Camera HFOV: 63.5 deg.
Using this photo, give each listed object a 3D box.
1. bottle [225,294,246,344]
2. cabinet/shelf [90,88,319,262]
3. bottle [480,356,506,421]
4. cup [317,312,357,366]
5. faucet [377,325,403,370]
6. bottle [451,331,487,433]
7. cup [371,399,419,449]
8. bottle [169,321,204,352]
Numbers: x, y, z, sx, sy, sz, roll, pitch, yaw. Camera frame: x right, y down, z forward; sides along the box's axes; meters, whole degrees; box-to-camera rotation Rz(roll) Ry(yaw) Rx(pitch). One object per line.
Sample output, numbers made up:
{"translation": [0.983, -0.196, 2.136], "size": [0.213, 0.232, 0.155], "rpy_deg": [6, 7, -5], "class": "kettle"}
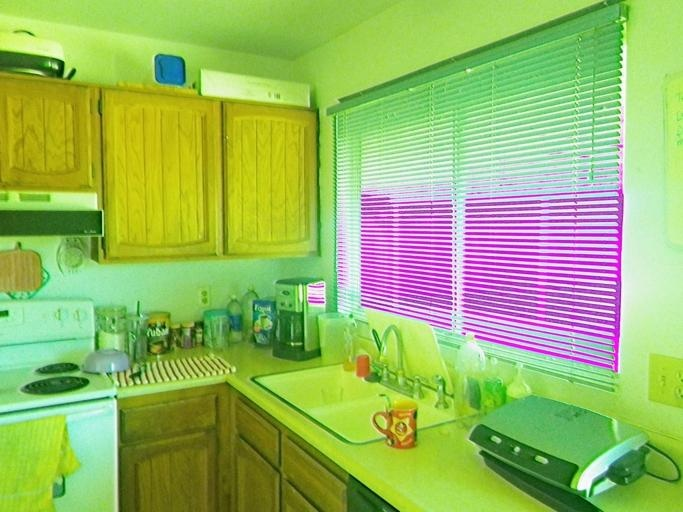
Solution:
{"translation": [-0.652, 0.387, 3.398], "size": [0.101, 0.274, 0.248], "rpy_deg": [-1, 7, -11], "class": "bottle"}
{"translation": [-0.786, -0.452, 2.986], "size": [1.096, 0.756, 0.415], "rpy_deg": [-1, 0, -25], "class": "cabinet/shelf"}
{"translation": [0.619, 0.520, 2.251], "size": [0.100, 0.206, 0.256], "rpy_deg": [2, 7, 13], "class": "bottle"}
{"translation": [-0.014, 0.450, 2.949], "size": [0.159, 0.249, 0.304], "rpy_deg": [-5, 9, -35], "class": "cup"}
{"translation": [0.239, 0.421, 2.607], "size": [0.111, 0.229, 0.147], "rpy_deg": [1, 7, 4], "class": "faucet"}
{"translation": [0.526, 0.488, 2.252], "size": [0.113, 0.328, 0.074], "rpy_deg": [1, 7, 11], "class": "bottle"}
{"translation": [0.208, 0.621, 2.066], "size": [0.197, 0.152, 0.118], "rpy_deg": [-1, 4, 1], "class": "cup"}
{"translation": [-0.901, 0.470, 3.293], "size": [0.108, 0.145, 0.237], "rpy_deg": [6, 9, 38], "class": "bottle"}
